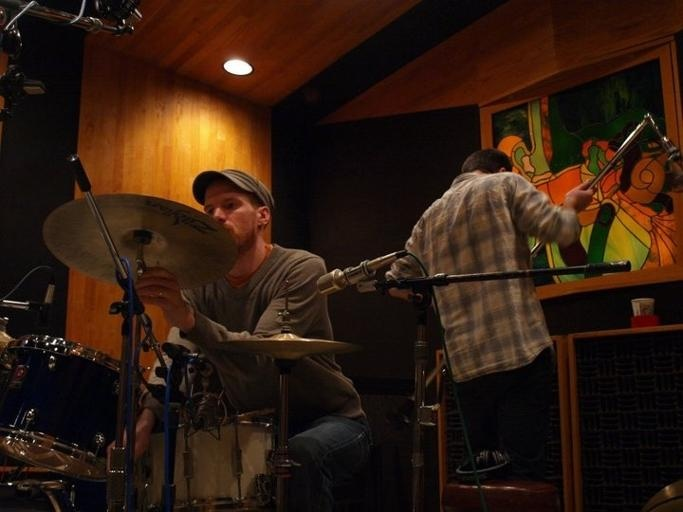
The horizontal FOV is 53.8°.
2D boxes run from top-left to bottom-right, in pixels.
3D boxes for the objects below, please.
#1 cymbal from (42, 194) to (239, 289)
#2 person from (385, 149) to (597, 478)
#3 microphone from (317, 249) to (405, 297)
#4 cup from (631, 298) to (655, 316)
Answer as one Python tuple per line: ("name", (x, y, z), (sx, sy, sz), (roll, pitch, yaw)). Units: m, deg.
("cymbal", (-0.810, -0.046, 2.727), (0.755, 0.251, 0.572), (0, -16, -9))
("person", (0.727, 0.191, 3.131), (0.904, 1.629, 0.471), (-4, -15, 7))
("microphone", (0.118, 0.095, 3.622), (0.507, 0.129, 0.135), (-30, -30, 32))
("cup", (1.698, 0.306, 3.771), (0.093, 0.087, 0.112), (2, -27, 15))
